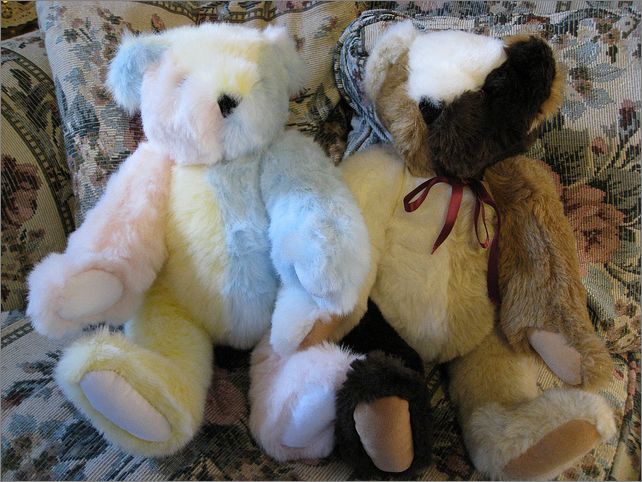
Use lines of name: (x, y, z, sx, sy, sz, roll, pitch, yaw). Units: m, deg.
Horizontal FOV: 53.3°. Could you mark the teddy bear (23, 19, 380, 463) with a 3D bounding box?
teddy bear: (-0.237, -0.016, 1.560, 0.805, 0.984, 0.849, 1, 31, -3)
